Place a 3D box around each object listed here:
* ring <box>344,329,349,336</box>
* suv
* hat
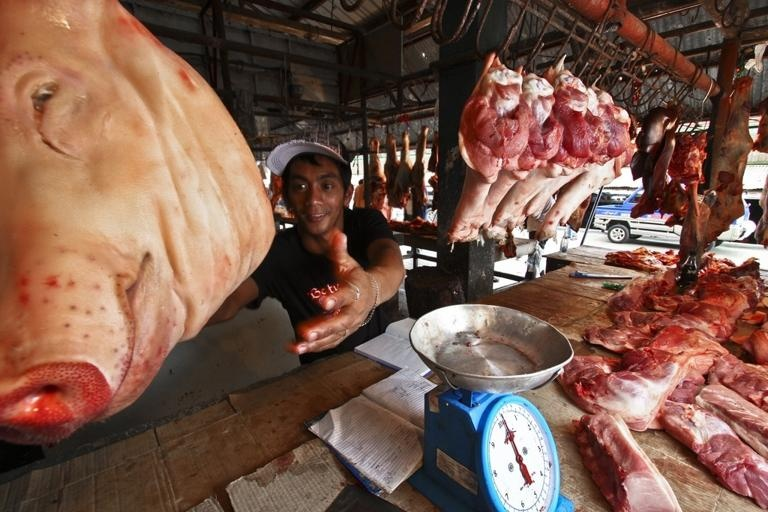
[{"bbox_3d":[-0.174,0.351,2.210,0.030,0.031,0.018,-14,22,-24],"label":"ring"},{"bbox_3d":[7.054,-1.253,11.817,1.576,1.605,3.133,-31,27,-33],"label":"suv"},{"bbox_3d":[-0.603,-0.718,3.547,0.606,0.325,0.433,9,15,11],"label":"hat"}]
